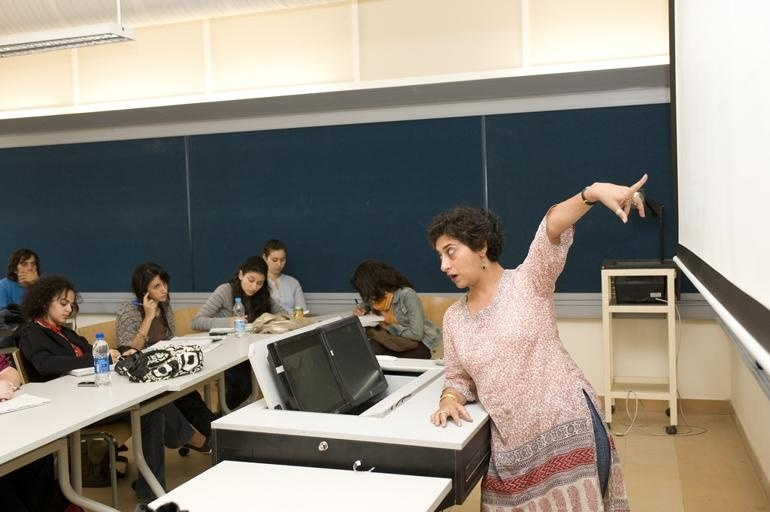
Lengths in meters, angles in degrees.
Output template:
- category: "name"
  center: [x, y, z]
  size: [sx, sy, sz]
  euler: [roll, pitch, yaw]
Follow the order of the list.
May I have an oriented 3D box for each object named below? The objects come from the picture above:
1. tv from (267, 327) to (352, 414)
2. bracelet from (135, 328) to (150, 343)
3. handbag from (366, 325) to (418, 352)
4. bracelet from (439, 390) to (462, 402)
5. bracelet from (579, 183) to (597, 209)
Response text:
- category: "tv"
  center: [-0.375, 0.596, 2.926]
  size: [0.381, 0.391, 0.091]
  euler: [-9, -13, -41]
- category: "bracelet"
  center: [-1.769, 0.590, 4.294]
  size: [0.043, 0.114, 0.081]
  euler: [14, -13, -30]
- category: "handbag"
  center: [0.068, 0.659, 4.670]
  size: [0.272, 0.126, 0.283]
  euler: [2, -2, 20]
- category: "bracelet"
  center: [0.312, 0.657, 2.761]
  size: [0.057, 0.039, 0.077]
  euler: [1, 3, 11]
- category: "bracelet"
  center: [0.885, -0.258, 2.541]
  size: [0.077, 0.092, 0.146]
  euler: [3, 12, 25]
